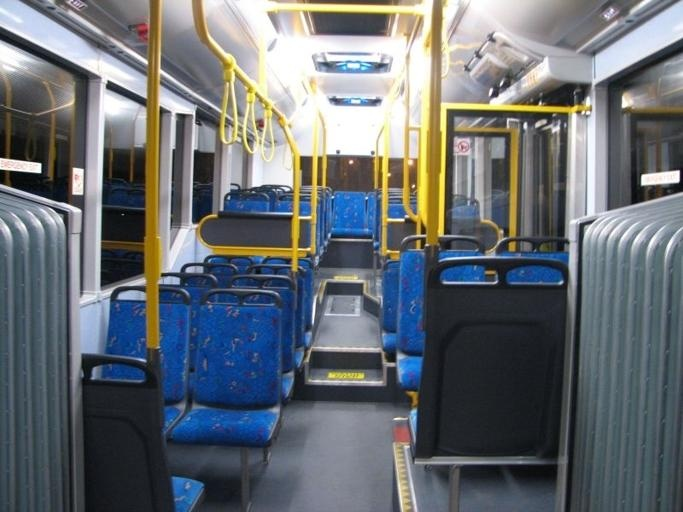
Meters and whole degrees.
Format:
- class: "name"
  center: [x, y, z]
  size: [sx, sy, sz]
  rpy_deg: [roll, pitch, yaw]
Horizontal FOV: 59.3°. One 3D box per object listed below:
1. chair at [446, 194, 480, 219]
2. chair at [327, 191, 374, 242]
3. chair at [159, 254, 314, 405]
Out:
- class: "chair"
  center: [0.991, -0.399, 4.839]
  size: [0.280, 0.234, 0.174]
  rpy_deg: [1, 14, -1]
- class: "chair"
  center: [0.169, -0.697, 9.939]
  size: [0.795, 0.856, 0.696]
  rpy_deg: [2, 3, 2]
- class: "chair"
  center: [-0.773, 0.457, 4.444]
  size: [1.018, 1.122, 0.859]
  rpy_deg: [1, -7, 3]
